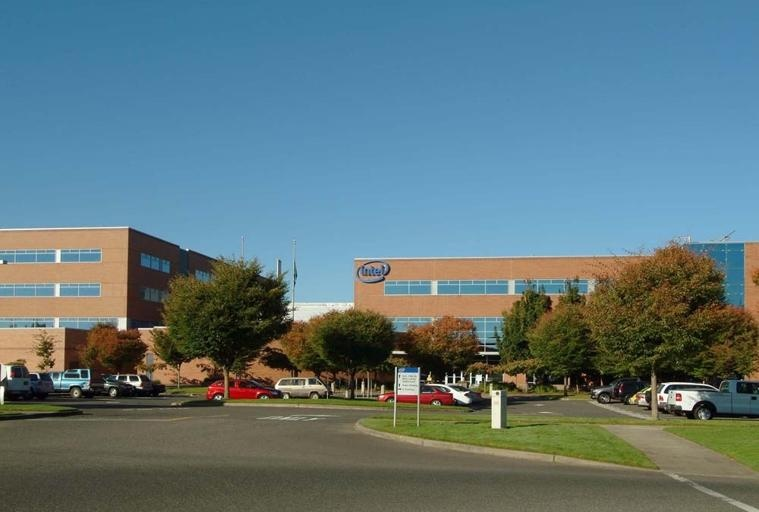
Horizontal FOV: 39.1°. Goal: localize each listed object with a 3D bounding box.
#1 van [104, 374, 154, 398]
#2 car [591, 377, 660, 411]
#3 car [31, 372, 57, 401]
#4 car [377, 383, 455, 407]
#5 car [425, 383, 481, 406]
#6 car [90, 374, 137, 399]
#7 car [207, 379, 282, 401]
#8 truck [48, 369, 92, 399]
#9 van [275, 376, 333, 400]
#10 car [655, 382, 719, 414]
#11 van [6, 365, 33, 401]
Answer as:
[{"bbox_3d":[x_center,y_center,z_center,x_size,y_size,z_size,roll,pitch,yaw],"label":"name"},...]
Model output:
[{"bbox_3d":[-18.927,9.979,82.056,3.362,1.272,1.571,5,-4,14],"label":"van"},{"bbox_3d":[17.965,10.190,80.067,3.804,1.504,1.740,-1,-5,16],"label":"car"},{"bbox_3d":[-23.455,8.974,74.197,0.957,1.813,3.107,-2,-11,5],"label":"car"},{"bbox_3d":[2.452,9.358,70.944,4.835,1.468,2.062,3,-6,7],"label":"car"},{"bbox_3d":[4.978,9.498,72.164,3.207,0.890,1.723,1,-4,7],"label":"car"},{"bbox_3d":[-19.857,9.832,80.397,2.413,1.645,3.695,-2,-11,5],"label":"car"},{"bbox_3d":[-9.676,9.663,75.016,4.175,1.436,1.950,-2,-5,5],"label":"car"},{"bbox_3d":[-22.620,9.369,79.077,3.455,1.481,1.670,2,-6,13],"label":"truck"},{"bbox_3d":[-5.490,9.449,76.097,2.961,1.174,1.665,-1,-4,3],"label":"van"},{"bbox_3d":[18.963,8.942,66.549,4.251,1.549,2.019,-2,-4,-4],"label":"car"},{"bbox_3d":[-23.797,8.266,69.684,2.274,1.848,3.256,1,-1,-13],"label":"van"}]
